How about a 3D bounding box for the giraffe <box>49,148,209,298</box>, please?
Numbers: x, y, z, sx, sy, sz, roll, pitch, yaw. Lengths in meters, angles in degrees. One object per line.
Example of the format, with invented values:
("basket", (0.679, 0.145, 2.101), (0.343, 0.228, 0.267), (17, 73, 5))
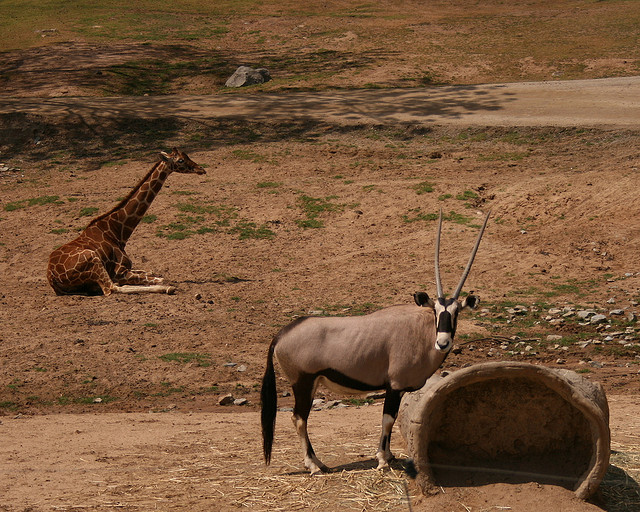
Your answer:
("giraffe", (-5.669, -0.558, 27.872), (5.436, 3.257, 2.960), (-3, 14, -19))
